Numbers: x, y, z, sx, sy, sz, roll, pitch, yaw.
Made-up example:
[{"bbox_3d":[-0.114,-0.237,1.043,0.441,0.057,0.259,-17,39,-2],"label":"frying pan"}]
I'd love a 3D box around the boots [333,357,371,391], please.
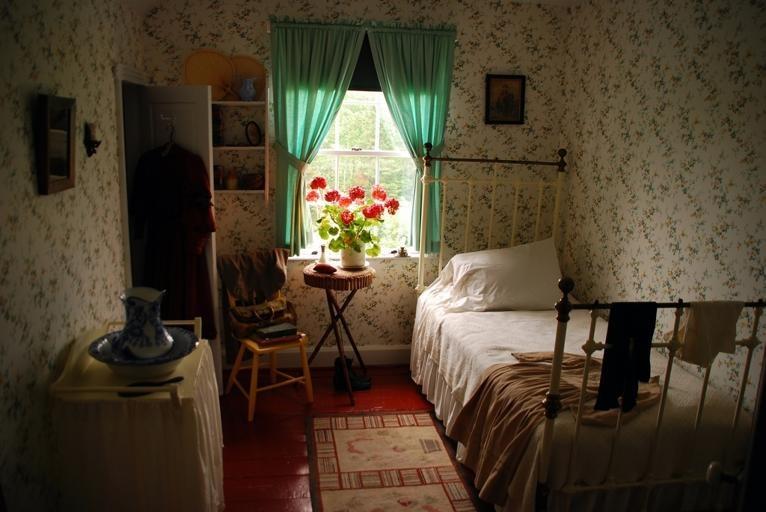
[{"bbox_3d":[-0.268,0.908,4.376,0.379,0.275,0.171,-3,4,-27],"label":"boots"}]

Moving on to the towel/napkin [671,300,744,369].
[{"bbox_3d":[1.611,0.374,2.817,0.313,0.330,0.118,3,6,-4],"label":"towel/napkin"}]

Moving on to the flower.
[{"bbox_3d":[-0.242,-0.342,4.271,0.470,0.340,0.421,7,-12,-17],"label":"flower"}]

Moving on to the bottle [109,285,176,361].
[{"bbox_3d":[-1.186,0.334,2.842,0.341,0.359,0.328,-6,18,-13],"label":"bottle"}]

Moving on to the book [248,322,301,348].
[{"bbox_3d":[-0.736,0.541,3.945,0.232,0.057,0.166,-8,12,-40],"label":"book"}]

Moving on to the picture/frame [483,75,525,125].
[{"bbox_3d":[0.952,-1.262,4.507,0.379,0.427,0.043,0,12,-8],"label":"picture/frame"}]

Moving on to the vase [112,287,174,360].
[{"bbox_3d":[-1.213,0.340,2.827,0.300,0.338,0.328,16,12,38],"label":"vase"}]

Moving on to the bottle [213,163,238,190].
[{"bbox_3d":[-1.194,-0.600,4.293,0.182,0.186,0.163,-4,11,-15],"label":"bottle"}]

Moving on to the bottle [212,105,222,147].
[{"bbox_3d":[-1.241,-0.967,4.195,0.072,0.299,0.031,-6,11,-25],"label":"bottle"}]

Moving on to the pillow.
[{"bbox_3d":[0.885,0.148,4.214,0.640,0.192,0.595,-6,54,11],"label":"pillow"}]

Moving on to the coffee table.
[{"bbox_3d":[-0.362,0.562,4.307,0.546,0.879,0.481,1,13,-16],"label":"coffee table"}]

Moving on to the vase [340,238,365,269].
[{"bbox_3d":[-0.223,-0.006,4.288,0.184,0.206,0.181,3,5,19],"label":"vase"}]

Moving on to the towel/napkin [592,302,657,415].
[{"bbox_3d":[1.201,0.509,2.844,0.320,0.591,0.158,-2,10,-8],"label":"towel/napkin"}]

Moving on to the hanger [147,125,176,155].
[{"bbox_3d":[-1.532,-0.796,3.918,0.147,0.201,0.112,0,10,5],"label":"hanger"}]
